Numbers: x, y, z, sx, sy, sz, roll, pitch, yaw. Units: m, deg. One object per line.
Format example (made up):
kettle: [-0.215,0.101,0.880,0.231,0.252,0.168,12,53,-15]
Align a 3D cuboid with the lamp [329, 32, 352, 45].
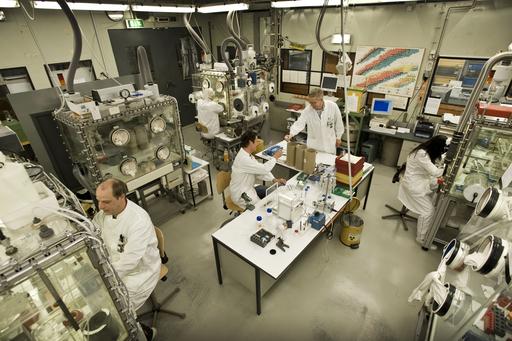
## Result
lamp: [1.825,-2.803,6.518,0.420,0.207,0.279,5,26,14]

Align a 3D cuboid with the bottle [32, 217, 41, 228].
bottle: [-2.181,0.502,3.007,0.078,0.082,0.082,-16,28,-27]

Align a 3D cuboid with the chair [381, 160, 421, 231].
chair: [2.594,0.293,5.137,0.646,1.163,0.646,11,25,18]

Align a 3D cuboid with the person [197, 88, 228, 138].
person: [-0.976,-1.212,6.458,0.563,0.986,0.442,-13,27,-22]

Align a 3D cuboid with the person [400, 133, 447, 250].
person: [2.659,0.272,4.834,0.509,1.630,0.695,-16,28,-26]

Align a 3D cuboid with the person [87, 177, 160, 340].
person: [-1.569,1.008,3.893,0.611,1.833,0.834,-17,29,-29]

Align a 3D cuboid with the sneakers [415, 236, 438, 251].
sneakers: [2.683,1.142,4.856,0.355,0.144,0.133,25,66,36]

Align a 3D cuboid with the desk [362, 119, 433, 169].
desk: [2.830,-0.548,6.026,0.936,0.621,0.452,28,57,30]

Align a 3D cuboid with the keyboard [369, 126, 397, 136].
keyboard: [2.654,-0.839,6.349,0.516,0.096,0.221,11,28,26]

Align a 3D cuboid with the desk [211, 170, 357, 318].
desk: [0.452,1.108,4.636,1.108,0.956,1.966,24,38,33]

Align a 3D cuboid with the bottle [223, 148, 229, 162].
bottle: [-0.651,-0.325,6.488,0.103,0.260,0.220,-7,25,-9]

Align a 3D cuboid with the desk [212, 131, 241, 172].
desk: [-0.604,-0.418,6.268,0.470,0.735,0.592,26,44,28]

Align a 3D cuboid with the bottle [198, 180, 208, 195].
bottle: [-1.025,0.313,5.753,0.164,0.317,0.078,-9,26,-15]

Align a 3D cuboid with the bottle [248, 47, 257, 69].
bottle: [-0.089,-2.318,6.287,0.141,0.443,0.231,-2,25,-1]

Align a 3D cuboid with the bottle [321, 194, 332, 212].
bottle: [0.996,0.462,4.319,0.106,0.201,0.195,17,43,27]
